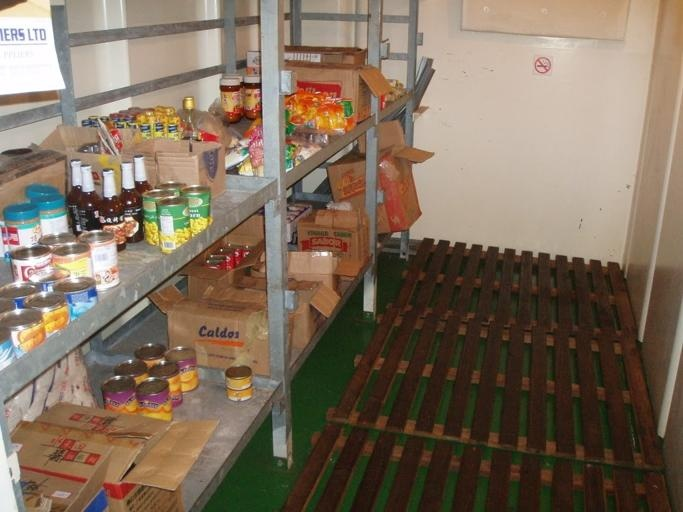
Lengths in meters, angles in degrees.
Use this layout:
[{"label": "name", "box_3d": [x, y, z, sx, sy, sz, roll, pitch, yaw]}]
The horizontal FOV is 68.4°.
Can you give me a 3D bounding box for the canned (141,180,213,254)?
[{"label": "canned", "box_3d": [-0.491, -0.128, 1.570, 0.136, 0.168, 0.255, 5, 24, 3]}]
